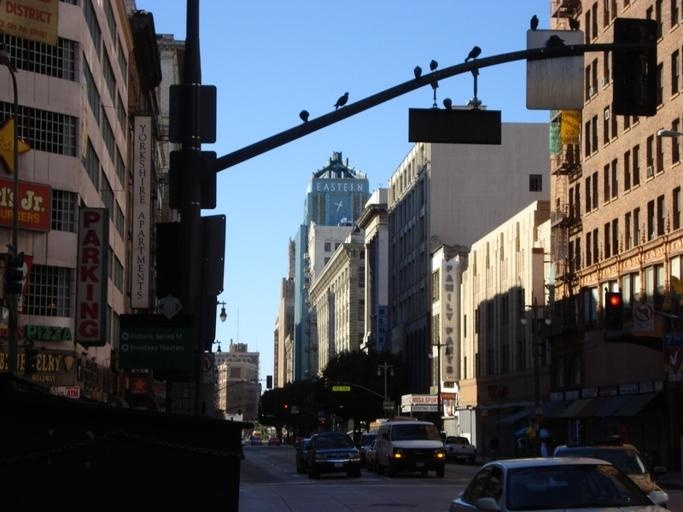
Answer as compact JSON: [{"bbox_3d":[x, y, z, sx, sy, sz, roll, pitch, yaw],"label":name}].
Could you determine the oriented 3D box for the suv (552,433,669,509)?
[{"bbox_3d":[8.434,6.655,47.198,1.823,1.837,3.641,-1,-18,0],"label":"suv"}]

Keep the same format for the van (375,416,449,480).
[{"bbox_3d":[3.035,8.566,66.717,1.426,2.481,3.851,0,-6,-7],"label":"van"}]

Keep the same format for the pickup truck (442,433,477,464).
[{"bbox_3d":[6.946,11.834,92.017,1.590,1.575,3.215,1,-4,-3],"label":"pickup truck"}]

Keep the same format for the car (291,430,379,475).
[{"bbox_3d":[-0.580,9.096,68.737,1.361,1.372,3.497,1,-11,-10],"label":"car"}]
